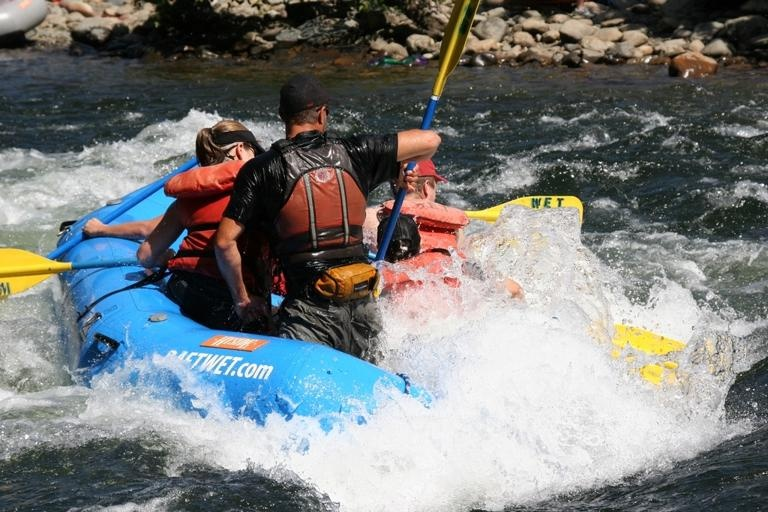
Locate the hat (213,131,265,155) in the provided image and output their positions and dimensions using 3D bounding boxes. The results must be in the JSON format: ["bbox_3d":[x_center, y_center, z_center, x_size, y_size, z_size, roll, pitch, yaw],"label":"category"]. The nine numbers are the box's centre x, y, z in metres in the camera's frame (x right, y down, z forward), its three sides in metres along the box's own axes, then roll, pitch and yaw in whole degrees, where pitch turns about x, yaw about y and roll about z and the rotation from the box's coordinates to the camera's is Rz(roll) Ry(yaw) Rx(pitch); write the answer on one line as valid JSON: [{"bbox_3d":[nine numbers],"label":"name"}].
[{"bbox_3d":[-1.431,-1.094,10.413,0.405,0.140,0.271,-3,5,-21],"label":"hat"}]

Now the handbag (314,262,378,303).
[{"bbox_3d":[-0.337,0.231,9.962,0.640,0.286,0.347,-14,30,-42],"label":"handbag"}]

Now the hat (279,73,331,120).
[{"bbox_3d":[-0.747,-1.453,9.750,0.391,0.244,0.442,3,35,20],"label":"hat"}]

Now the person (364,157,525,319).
[{"bbox_3d":[0.459,-0.094,10.790,1.509,1.506,0.605,-13,-19,8],"label":"person"}]

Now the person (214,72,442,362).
[{"bbox_3d":[-0.638,-0.319,9.881,1.559,2.575,1.085,8,26,13],"label":"person"}]

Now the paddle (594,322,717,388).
[{"bbox_3d":[2.604,0.949,10.162,0.715,0.156,0.729,-1,20,-39],"label":"paddle"}]
